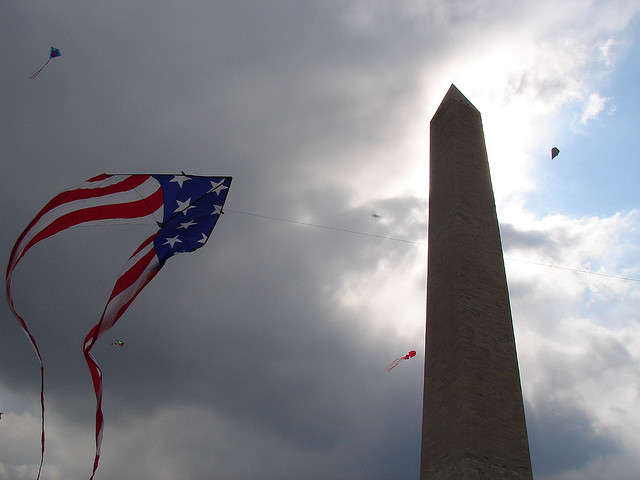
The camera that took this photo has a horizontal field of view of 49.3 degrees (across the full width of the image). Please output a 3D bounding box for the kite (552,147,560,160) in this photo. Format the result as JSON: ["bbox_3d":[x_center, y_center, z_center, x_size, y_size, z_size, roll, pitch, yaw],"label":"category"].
[{"bbox_3d":[5.960,-2.198,17.709,0.114,0.307,0.304,-6,-35,15],"label":"kite"}]
